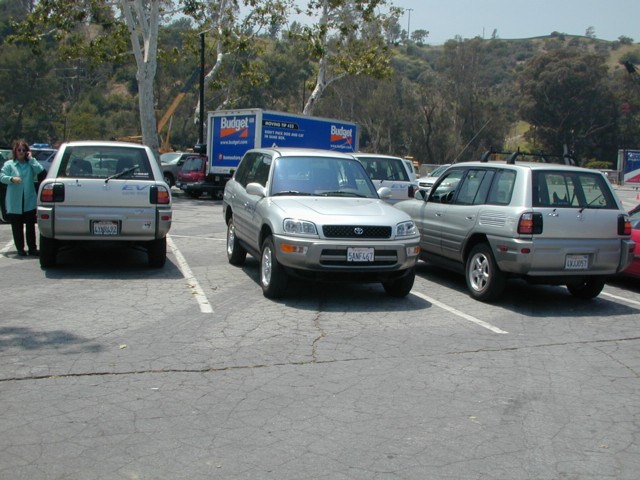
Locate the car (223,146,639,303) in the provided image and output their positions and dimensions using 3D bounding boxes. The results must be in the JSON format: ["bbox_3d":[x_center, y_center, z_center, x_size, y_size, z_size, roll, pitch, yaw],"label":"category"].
[{"bbox_3d":[1.580,-0.275,8.534,5.796,2.170,2.829,2,9,0],"label":"car"}]

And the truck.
[{"bbox_3d":[-1.596,-4.166,26.278,8.509,4.299,4.039,-4,12,-29],"label":"truck"}]

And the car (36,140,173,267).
[{"bbox_3d":[-3.448,-0.699,8.735,1.561,1.361,2.754,0,13,-13],"label":"car"}]
